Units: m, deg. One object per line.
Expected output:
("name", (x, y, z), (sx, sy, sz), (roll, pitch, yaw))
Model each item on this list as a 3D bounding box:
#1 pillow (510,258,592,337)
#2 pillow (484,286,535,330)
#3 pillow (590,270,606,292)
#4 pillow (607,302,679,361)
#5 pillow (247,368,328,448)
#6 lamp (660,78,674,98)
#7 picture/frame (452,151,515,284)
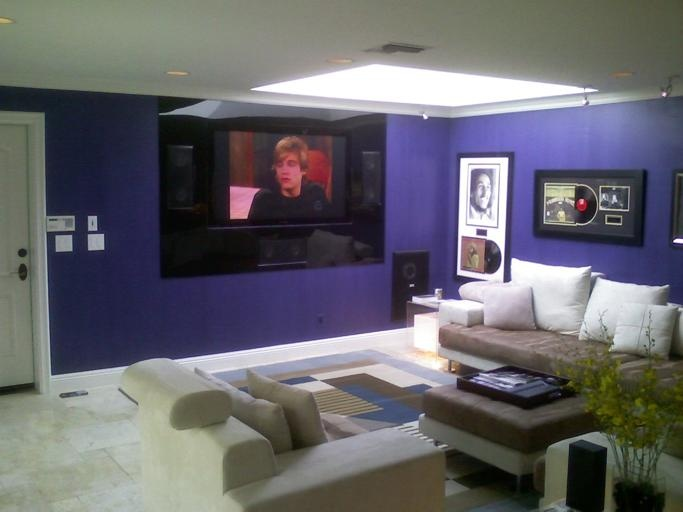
("pillow", (2.195, 0.472, 5.503), (0.235, 0.616, 0.666), (11, -1, -42))
("pillow", (1.814, 0.573, 5.626), (0.383, 0.387, 0.150), (-4, -19, 19))
("pillow", (2.646, 0.272, 5.426), (0.173, 0.151, 0.059), (-15, -1, -40))
("pillow", (2.651, 0.676, 4.586), (0.517, 0.501, 0.276), (-2, 1, 41))
("pillow", (-0.325, 0.872, 3.019), (0.534, 0.373, 0.200), (5, 15, 40))
("lamp", (3.039, -1.558, 4.897), (0.068, 0.224, 0.120), (17, 19, 40))
("picture/frame", (1.818, -0.492, 6.798), (0.096, 1.640, 0.851), (-6, 10, -36))
